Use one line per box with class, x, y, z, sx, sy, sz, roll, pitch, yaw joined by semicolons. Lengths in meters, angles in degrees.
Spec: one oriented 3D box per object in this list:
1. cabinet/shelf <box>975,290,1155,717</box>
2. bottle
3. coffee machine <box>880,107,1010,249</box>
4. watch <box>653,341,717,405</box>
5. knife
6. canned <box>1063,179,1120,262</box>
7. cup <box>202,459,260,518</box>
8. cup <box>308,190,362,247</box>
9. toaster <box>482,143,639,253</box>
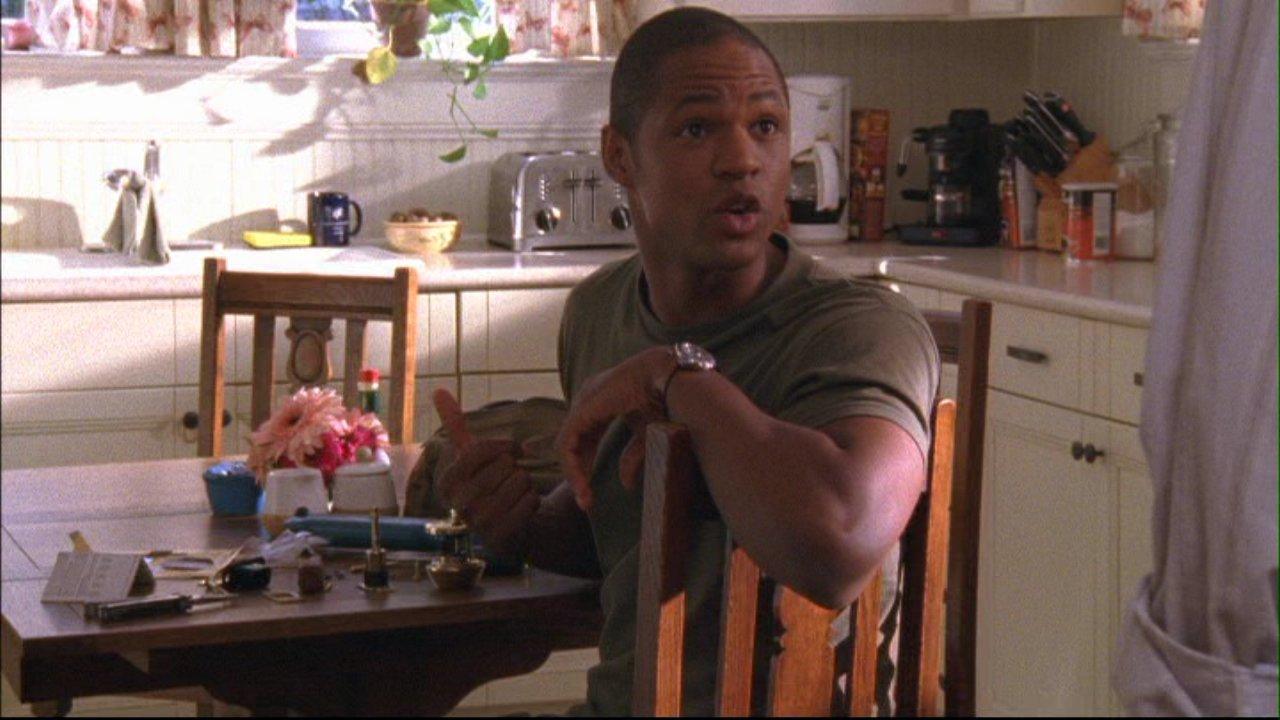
cabinet/shelf;1.074;0.450;2.802;0.196;1.165;0.510;-5;9;-15
bottle;1.538;-0.528;3.267;0.179;0.429;0.141;4;11;36
coffee machine;1.148;-0.657;3.830;0.409;0.488;0.315;-3;9;-5
watch;0.052;0.013;1.535;0.069;0.087;0.085;2;23;-16
knife;1.328;-0.734;3.479;0.275;0.271;0.135;1;10;22
canned;1.399;-0.437;3.336;0.148;0.232;0.148;3;11;30
cup;-0.780;0.260;2.051;0.099;0.067;0.101;-6;-7;-1
cup;-1.059;-0.483;3.765;0.125;0.189;0.197;18;22;40
toaster;-0.151;-0.560;3.818;0.523;0.316;0.288;1;9;22
